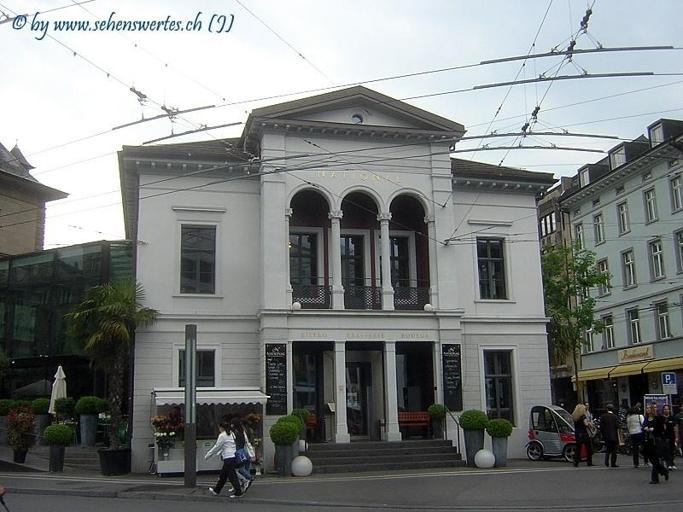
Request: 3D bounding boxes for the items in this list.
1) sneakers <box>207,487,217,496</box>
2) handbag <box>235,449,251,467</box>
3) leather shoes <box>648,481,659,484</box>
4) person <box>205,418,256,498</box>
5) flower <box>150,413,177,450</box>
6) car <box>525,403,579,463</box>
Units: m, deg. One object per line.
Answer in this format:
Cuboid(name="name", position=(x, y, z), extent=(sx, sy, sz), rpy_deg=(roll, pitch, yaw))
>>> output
Cuboid(name="sneakers", position=(-3.484, 6.408, 19.166), extent=(0.186, 0.134, 0.411), rpy_deg=(-22, 22, -9))
Cuboid(name="handbag", position=(-2.703, 5.439, 19.090), extent=(0.265, 0.457, 0.512), rpy_deg=(-31, -22, 36))
Cuboid(name="leather shoes", position=(8.728, 6.279, 19.666), extent=(0.320, 0.114, 0.111), rpy_deg=(8, -17, -19))
Cuboid(name="person", position=(-3.059, 5.503, 19.343), extent=(1.114, 1.983, 1.217), rpy_deg=(1, -13, -10))
Cuboid(name="flower", position=(-6.146, 6.079, 24.627), extent=(1.297, 1.156, 1.025), rpy_deg=(1, -8, -7))
Cuboid(name="car", position=(7.662, 6.732, 26.695), extent=(2.288, 1.968, 1.458), rpy_deg=(-13, -18, 38))
